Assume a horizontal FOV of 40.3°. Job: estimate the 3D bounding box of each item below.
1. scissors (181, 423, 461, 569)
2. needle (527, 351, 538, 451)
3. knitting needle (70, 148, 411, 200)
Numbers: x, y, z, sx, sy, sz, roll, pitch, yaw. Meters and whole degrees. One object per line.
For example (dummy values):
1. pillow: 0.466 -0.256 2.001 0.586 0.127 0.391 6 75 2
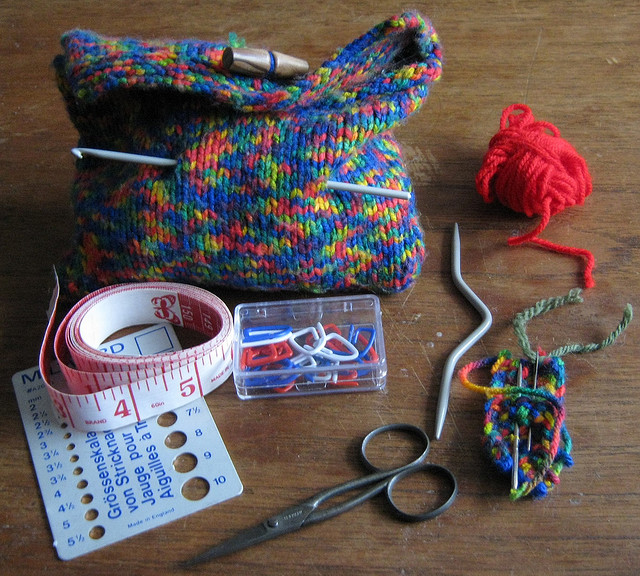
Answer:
1. scissors: 0.004 0.234 1.003 0.321 0.026 0.141 -18 45 -20
2. needle: 0.263 0.144 1.080 0.004 0.004 0.134 12 55 2
3. knitting needle: -0.103 -0.141 1.237 0.561 0.020 0.038 7 91 -28
